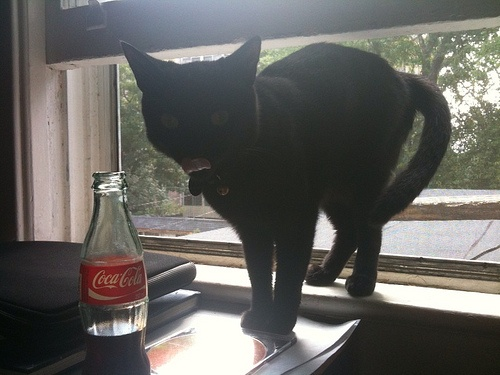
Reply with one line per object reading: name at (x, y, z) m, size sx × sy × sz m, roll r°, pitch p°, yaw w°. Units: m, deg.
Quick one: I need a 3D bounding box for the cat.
cat at (0.111, -0.037, 1.206) m, size 0.747 × 0.663 × 0.385 m, roll -11°, pitch 25°, yaw -33°
